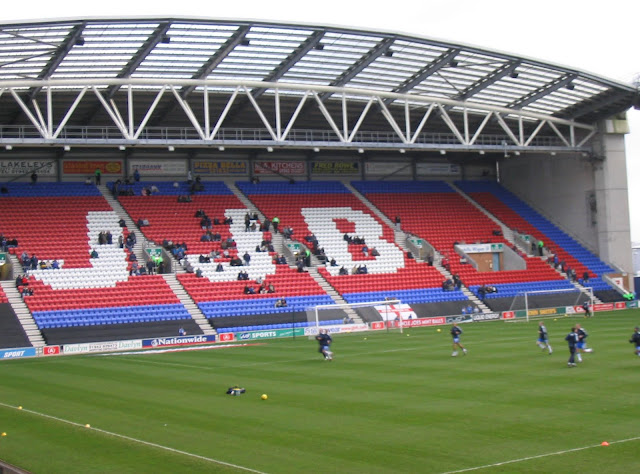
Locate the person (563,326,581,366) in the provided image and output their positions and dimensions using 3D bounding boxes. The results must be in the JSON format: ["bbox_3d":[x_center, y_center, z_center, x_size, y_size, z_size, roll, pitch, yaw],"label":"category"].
[{"bbox_3d":[9.835,4.175,30.518,0.473,1.411,1.628,-3,1,18],"label":"person"}]

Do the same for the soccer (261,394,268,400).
[{"bbox_3d":[-1.914,5.542,27.368,0.193,0.128,0.137,-6,-30,-40],"label":"soccer"}]

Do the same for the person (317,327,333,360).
[{"bbox_3d":[0.210,4.770,35.072,0.603,1.009,1.209,-3,1,1],"label":"person"}]
